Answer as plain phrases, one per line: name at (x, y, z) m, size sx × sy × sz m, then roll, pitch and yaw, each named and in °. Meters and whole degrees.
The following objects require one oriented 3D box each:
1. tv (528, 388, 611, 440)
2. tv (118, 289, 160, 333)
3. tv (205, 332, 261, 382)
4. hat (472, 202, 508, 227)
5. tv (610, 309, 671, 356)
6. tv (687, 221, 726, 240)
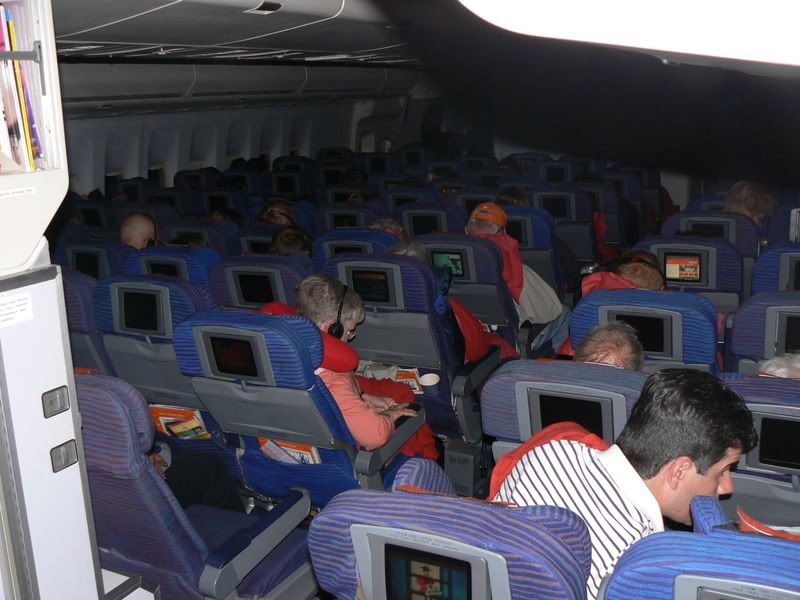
tv at (0.532, 0.352, 2.062) m, size 0.213 × 0.132 × 0.021 m, roll 6°, pitch 28°, yaw 26°
tv at (-1.250, 0.056, 3.253) m, size 0.302 × 0.245 × 0.030 m, roll 6°, pitch 13°, yaw 22°
tv at (-0.641, 0.217, 2.608) m, size 0.255 × 0.177 × 0.021 m, roll 4°, pitch 31°, yaw 27°
hat at (0.701, -0.670, 5.207) m, size 0.182 × 0.120 × 0.267 m, roll 4°, pitch 10°, yaw 31°
tv at (0.952, 0.136, 2.627) m, size 0.029 × 0.131 × 0.204 m, roll -22°, pitch 23°, yaw -40°
tv at (2.270, -0.514, 4.943) m, size 0.263 × 0.161 × 0.134 m, roll 5°, pitch 12°, yaw 34°
